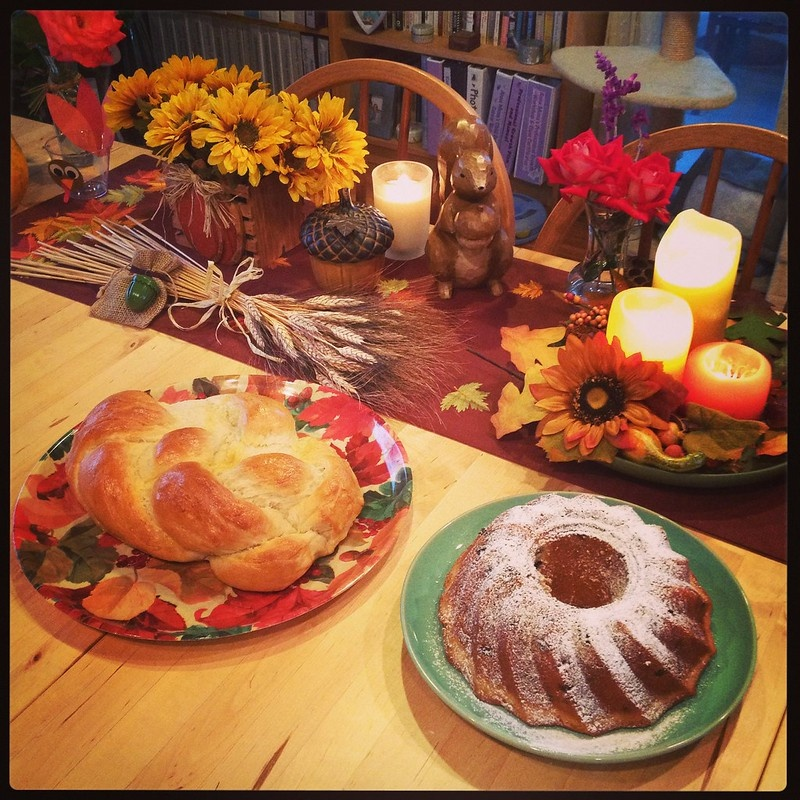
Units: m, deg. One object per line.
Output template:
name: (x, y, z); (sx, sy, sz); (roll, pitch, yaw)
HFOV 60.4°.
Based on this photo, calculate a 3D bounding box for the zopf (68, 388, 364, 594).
zopf: (-0.187, 0.064, 0.708); (0.306, 0.086, 0.211); (25, 47, 19)

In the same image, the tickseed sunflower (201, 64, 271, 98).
tickseed sunflower: (-0.256, -0.499, 1.076); (0.103, 0.034, 0.093); (-2, 20, -18)

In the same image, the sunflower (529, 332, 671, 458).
sunflower: (0.216, -0.007, 0.749); (0.146, 0.144, 0.045); (42, 14, 11)

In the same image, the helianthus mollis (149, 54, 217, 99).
helianthus mollis: (-0.335, -0.521, 1.078); (0.093, 0.033, 0.084); (-5, 29, 16)

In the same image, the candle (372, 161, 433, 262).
candle: (0.001, -0.315, 1.214); (0.094, 0.177, 0.100); (27, 47, 28)

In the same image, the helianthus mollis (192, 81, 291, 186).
helianthus mollis: (-0.230, -0.398, 1.074); (0.129, 0.151, 0.143); (-27, 47, -30)

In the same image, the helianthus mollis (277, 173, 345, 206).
helianthus mollis: (-0.139, -0.345, 1.110); (0.069, 0.029, 0.061); (-1, 24, -11)
